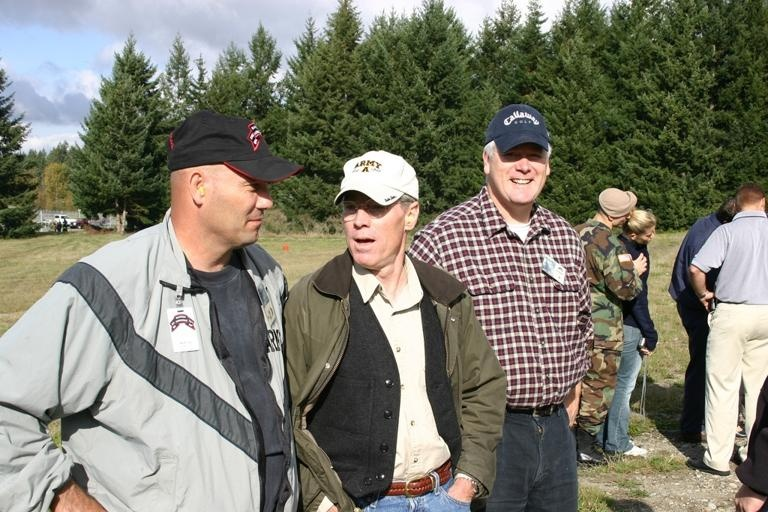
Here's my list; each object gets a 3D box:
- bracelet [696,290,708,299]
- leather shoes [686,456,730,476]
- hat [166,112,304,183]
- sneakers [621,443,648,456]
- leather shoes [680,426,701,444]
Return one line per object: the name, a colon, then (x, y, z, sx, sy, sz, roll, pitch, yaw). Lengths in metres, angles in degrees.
bracelet: (4.096, 0.498, 9.488, 0.081, 0.069, 0.085, -19, 15, 6)
leather shoes: (4.011, 2.577, 9.170, 0.174, 0.231, 0.469, -4, 13, -42)
hat: (-1.256, -0.868, 5.962, 0.826, 0.451, 0.583, 4, 11, -7)
sneakers: (3.248, 2.478, 9.543, 0.330, 0.168, 0.139, -1, 6, -13)
leather shoes: (4.081, 2.359, 9.811, 0.231, 0.170, 0.154, -1, -5, 21)
